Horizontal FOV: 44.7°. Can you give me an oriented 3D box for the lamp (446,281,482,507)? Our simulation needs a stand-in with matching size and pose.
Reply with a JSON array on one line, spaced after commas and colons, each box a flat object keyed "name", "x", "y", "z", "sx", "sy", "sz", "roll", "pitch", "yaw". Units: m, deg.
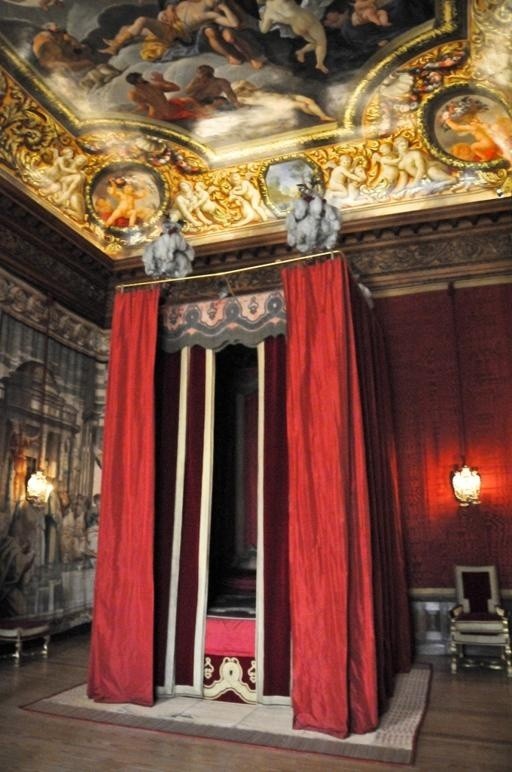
[{"name": "lamp", "x": 2.023, "y": 0.047, "z": 6.336, "sx": 0.301, "sy": 2.345, "sz": 0.308, "roll": -7, "pitch": -13, "yaw": 17}]

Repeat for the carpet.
[{"name": "carpet", "x": -0.077, "y": 2.263, "z": 4.396, "sx": 2.480, "sy": 0.117, "sz": 1.361, "roll": -7, "pitch": -12, "yaw": 20}]
